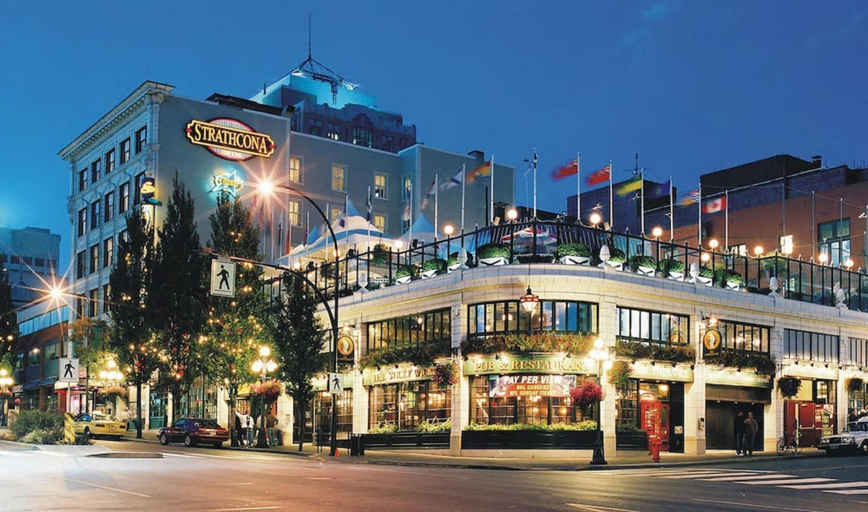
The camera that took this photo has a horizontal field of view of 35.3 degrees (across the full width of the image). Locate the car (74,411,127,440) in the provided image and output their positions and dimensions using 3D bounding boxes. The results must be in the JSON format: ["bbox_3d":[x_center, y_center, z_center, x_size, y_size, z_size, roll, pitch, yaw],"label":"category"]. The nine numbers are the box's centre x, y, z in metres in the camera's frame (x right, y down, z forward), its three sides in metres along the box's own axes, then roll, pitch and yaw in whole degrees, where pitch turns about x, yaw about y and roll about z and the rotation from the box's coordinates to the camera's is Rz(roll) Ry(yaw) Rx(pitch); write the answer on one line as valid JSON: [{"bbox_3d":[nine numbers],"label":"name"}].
[{"bbox_3d":[-29.456,15.219,120.514,4.138,2.475,2.872,-2,3,-17],"label":"car"}]

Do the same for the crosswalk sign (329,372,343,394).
[{"bbox_3d":[-7.677,9.903,106.318,1.719,1.928,0.286,1,-4,-10],"label":"crosswalk sign"}]

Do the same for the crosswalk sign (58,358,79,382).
[{"bbox_3d":[-28.151,8.789,105.453,1.420,1.867,1.741,-2,3,-15],"label":"crosswalk sign"}]

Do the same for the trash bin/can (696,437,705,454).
[{"bbox_3d":[21.598,15.455,111.024,0.705,1.233,1.295,1,-3,-13],"label":"trash bin/can"}]

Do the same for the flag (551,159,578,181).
[{"bbox_3d":[10.780,-7.193,112.097,2.005,1.572,6.761,-1,3,5],"label":"flag"}]
